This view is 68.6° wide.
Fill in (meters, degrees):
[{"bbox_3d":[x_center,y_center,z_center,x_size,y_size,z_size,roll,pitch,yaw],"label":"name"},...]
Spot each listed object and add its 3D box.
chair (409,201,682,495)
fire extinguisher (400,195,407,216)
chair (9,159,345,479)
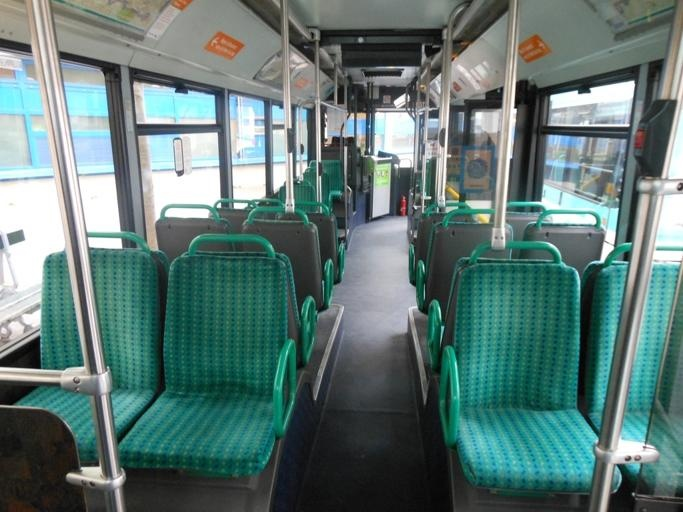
[{"bbox_3d":[1.297,0.644,3.310,1.734,1.820,1.391,1,6,6],"label":"chair"},{"bbox_3d":[1.374,-1.121,11.131,0.151,0.432,0.326,2,12,12],"label":"fire extinguisher"},{"bbox_3d":[-0.884,0.333,2.871,1.516,1.151,1.146,1,2,-3],"label":"chair"}]
